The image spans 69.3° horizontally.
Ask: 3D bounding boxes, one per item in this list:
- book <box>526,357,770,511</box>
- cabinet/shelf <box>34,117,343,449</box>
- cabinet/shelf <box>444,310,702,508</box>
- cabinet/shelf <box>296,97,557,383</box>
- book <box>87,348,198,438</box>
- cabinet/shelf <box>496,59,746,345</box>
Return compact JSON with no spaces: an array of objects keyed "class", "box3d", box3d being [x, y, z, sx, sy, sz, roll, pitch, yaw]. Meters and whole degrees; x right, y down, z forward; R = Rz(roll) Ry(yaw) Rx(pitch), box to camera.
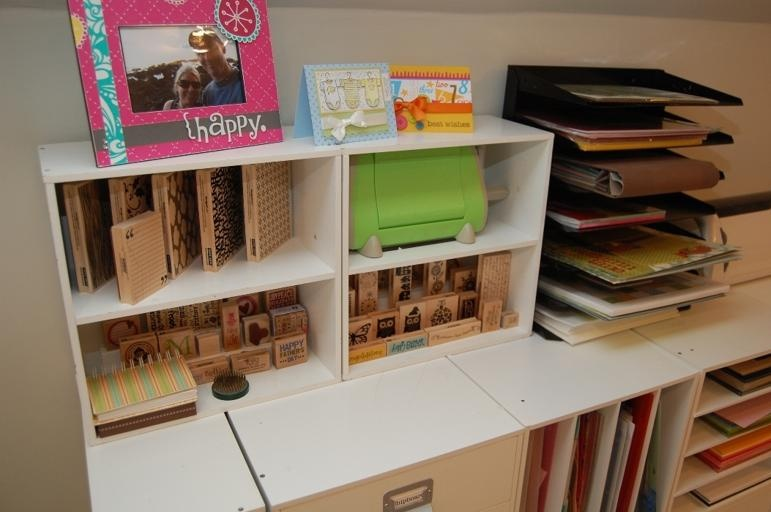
[{"class":"book","box3d":[0.949,0.653,2.073,0.661,0.363,0.083,-21,33,-22]},{"class":"cabinet/shelf","box3d":[-0.585,0.046,1.770,0.808,0.761,0.433,-9,25,-29]},{"class":"cabinet/shelf","box3d":[0.638,0.678,2.193,0.956,0.462,0.511,-14,43,-19]},{"class":"cabinet/shelf","box3d":[0.013,-0.078,2.216,1.124,1.104,0.609,10,8,8]},{"class":"book","box3d":[-0.727,0.419,1.695,0.271,0.084,0.204,-15,42,-26]},{"class":"cabinet/shelf","box3d":[0.903,-0.239,2.348,1.040,0.646,0.567,-12,31,-24]}]
